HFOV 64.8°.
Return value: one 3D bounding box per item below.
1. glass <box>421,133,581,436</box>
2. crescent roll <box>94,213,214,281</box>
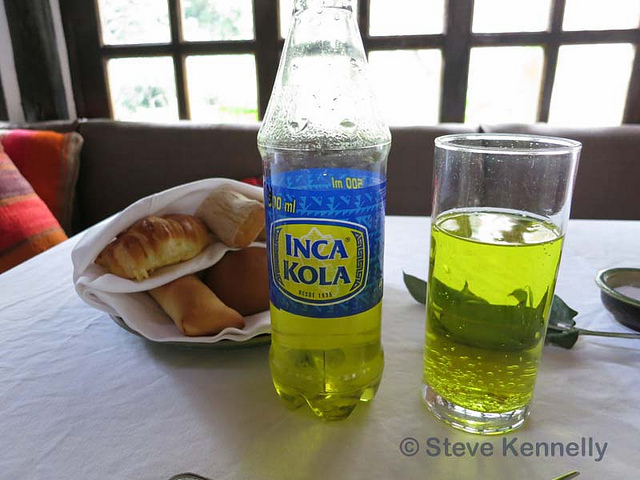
[{"bbox_3d":[0.201,0.058,0.605,0.155,0.329,0.133,7,23,19],"label":"glass"},{"bbox_3d":[-0.234,0.009,0.726,0.089,0.062,0.166,32,37,33],"label":"crescent roll"}]
